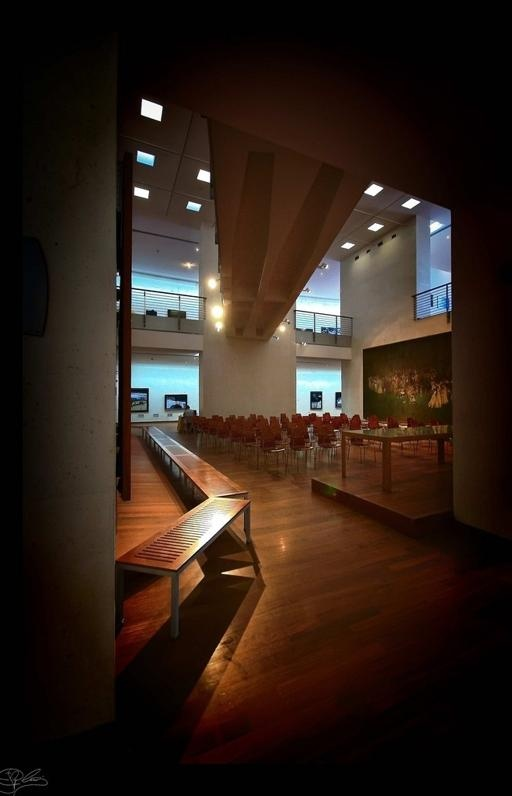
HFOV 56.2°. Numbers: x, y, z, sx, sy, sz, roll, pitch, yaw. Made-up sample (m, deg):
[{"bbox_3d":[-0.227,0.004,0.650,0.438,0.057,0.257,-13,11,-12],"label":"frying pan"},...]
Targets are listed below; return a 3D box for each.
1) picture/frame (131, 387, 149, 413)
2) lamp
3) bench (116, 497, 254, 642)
[{"bbox_3d":[-3.697,0.037,15.169,0.061,0.789,0.588,3,6,43],"label":"picture/frame"},{"bbox_3d":[1.253,-2.596,13.405,1.007,2.630,2.051,3,1,35],"label":"lamp"},{"bbox_3d":[-0.348,0.998,3.052,0.490,0.443,1.311,2,6,18],"label":"bench"}]
